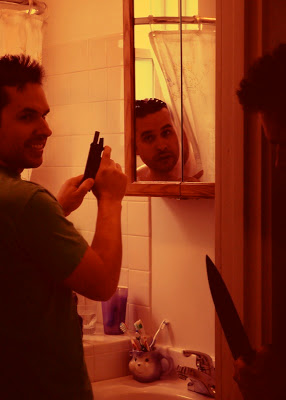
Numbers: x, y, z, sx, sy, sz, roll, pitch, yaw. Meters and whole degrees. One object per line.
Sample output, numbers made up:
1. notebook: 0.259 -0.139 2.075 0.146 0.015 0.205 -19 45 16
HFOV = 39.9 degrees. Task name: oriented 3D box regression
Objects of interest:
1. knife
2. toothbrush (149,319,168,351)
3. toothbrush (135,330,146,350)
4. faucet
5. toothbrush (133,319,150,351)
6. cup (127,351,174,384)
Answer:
1. knife: 0.073 0.083 0.331 0.010 0.118 0.016 19 -43 -34
2. toothbrush: 0.050 0.529 1.507 0.038 0.164 0.024 23 18 -9
3. toothbrush: -0.011 0.510 1.460 0.035 0.065 0.077 -1 9 -8
4. faucet: 0.172 0.567 1.294 0.121 0.140 0.092 1 8 6
5. toothbrush: -0.005 0.499 1.457 0.036 0.149 0.036 -16 10 5
6. cup: 0.028 0.588 1.413 0.146 0.111 0.102 0 -14 5
